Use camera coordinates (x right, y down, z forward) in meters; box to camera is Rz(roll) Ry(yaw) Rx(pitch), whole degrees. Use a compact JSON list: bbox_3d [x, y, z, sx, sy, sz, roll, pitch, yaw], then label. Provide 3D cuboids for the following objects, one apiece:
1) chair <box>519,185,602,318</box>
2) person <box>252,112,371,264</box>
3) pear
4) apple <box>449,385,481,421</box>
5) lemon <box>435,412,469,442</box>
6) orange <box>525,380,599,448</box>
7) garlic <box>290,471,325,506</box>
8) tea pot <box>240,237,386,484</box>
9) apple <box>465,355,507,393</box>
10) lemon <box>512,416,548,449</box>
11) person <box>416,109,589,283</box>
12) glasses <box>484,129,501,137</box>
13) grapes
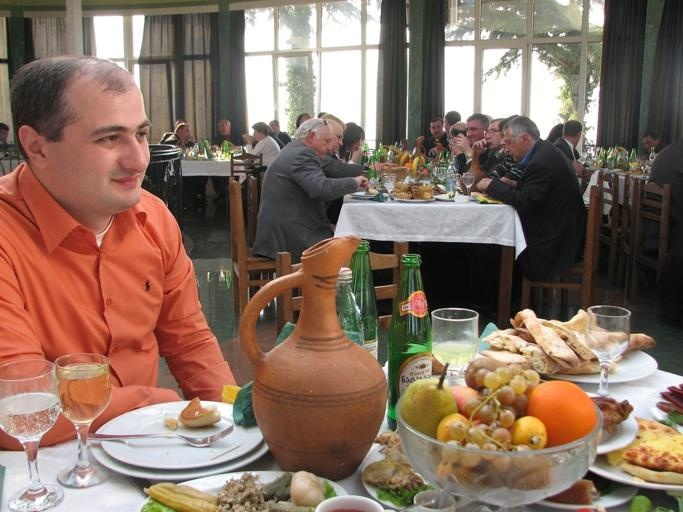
[{"bbox_3d":[1.470,-0.098,3.658,0.532,0.963,0.597,-4,26,14],"label":"chair"},{"bbox_3d":[-0.300,-0.651,4.270,0.930,1.550,0.756,-7,22,-22],"label":"person"},{"bbox_3d":[0.126,0.222,0.831,0.068,0.100,0.074,11,17,-13],"label":"pear"},{"bbox_3d":[0.182,0.218,0.816,0.034,0.046,0.037,-3,-3,3],"label":"apple"},{"bbox_3d":[0.154,0.243,0.766,0.043,0.047,0.059,1,9,10],"label":"lemon"},{"bbox_3d":[0.334,0.227,0.817,0.080,0.104,0.081,-8,10,3],"label":"orange"},{"bbox_3d":[-0.053,0.356,0.851,0.056,0.031,0.058,-1,9,-7],"label":"garlic"},{"bbox_3d":[-0.049,0.175,0.977,0.238,0.397,0.229,0,7,0],"label":"tea pot"},{"bbox_3d":[0.231,0.182,0.869,0.064,0.056,0.052,2,-5,-3],"label":"apple"},{"bbox_3d":[0.259,0.242,0.758,0.037,0.051,0.042,0,-32,0],"label":"lemon"},{"bbox_3d":[1.237,-0.532,4.083,0.915,1.436,0.979,5,18,18],"label":"person"},{"bbox_3d":[1.447,-1.152,5.249,0.089,0.043,0.096,1,-6,37],"label":"glasses"},{"bbox_3d":[0.213,0.222,0.772,0.096,0.071,0.113,3,-7,-27],"label":"grapes"}]
